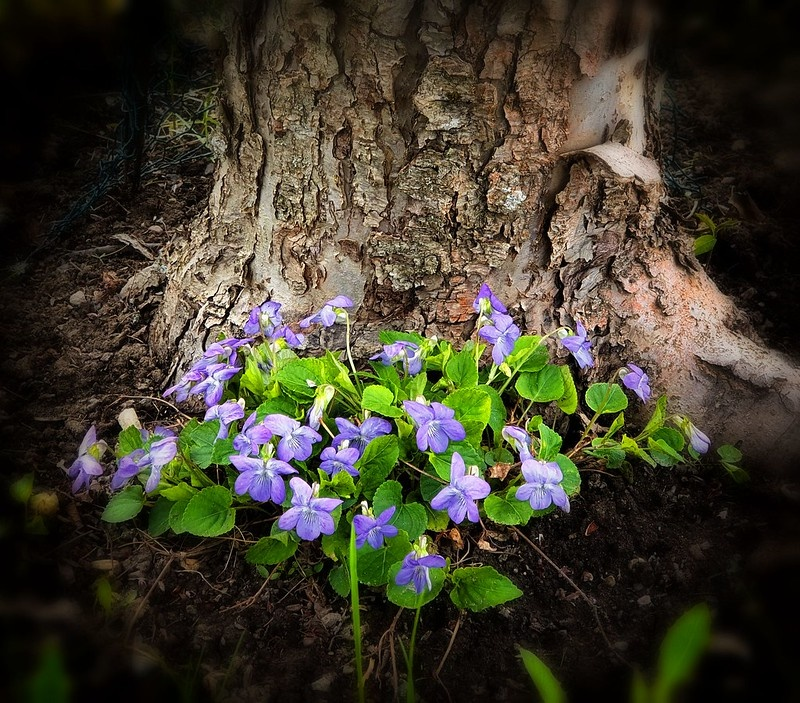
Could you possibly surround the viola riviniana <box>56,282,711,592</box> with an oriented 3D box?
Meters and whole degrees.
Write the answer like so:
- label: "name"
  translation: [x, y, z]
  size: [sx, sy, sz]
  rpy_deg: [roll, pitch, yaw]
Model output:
- label: "viola riviniana"
  translation: [-0.041, 0.437, 1.888]
  size: [1.575, 0.672, 1.107]
  rpy_deg: [0, 16, 0]
